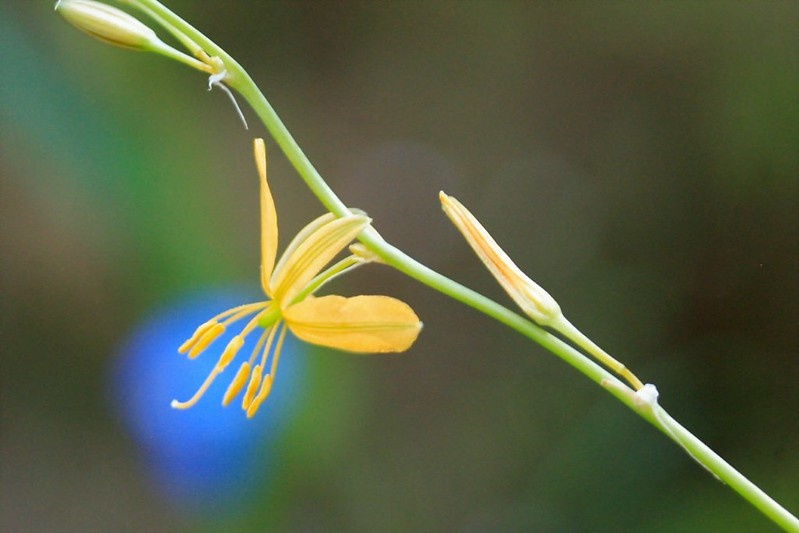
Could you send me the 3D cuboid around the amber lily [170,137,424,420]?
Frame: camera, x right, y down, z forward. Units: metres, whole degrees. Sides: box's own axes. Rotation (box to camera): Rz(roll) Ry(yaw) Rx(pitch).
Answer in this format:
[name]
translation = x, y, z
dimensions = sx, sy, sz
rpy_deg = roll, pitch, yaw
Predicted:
[amber lily]
translation = -0.334, 0.061, 2.479
dimensions = 0.747, 0.895, 0.469
rpy_deg = -3, -16, 42
